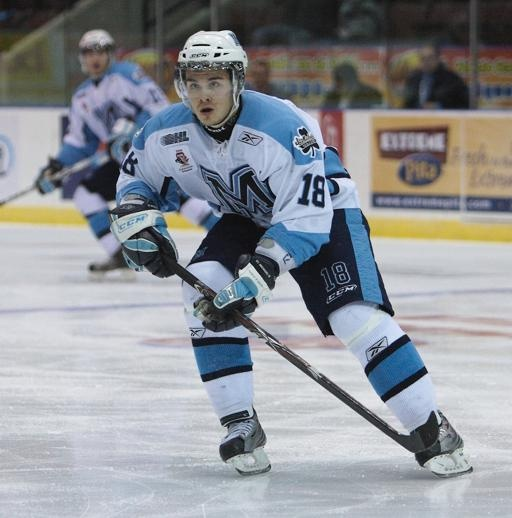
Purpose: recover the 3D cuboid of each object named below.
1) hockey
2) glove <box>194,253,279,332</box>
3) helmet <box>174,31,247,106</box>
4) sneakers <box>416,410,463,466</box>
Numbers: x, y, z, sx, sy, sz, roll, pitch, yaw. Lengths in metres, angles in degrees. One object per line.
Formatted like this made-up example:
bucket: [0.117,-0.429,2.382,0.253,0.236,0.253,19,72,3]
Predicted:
hockey: [0.109,0.297,2.469,1.185,0.036,0.129,25,41,9]
glove: [-0.032,0.078,2.016,0.138,0.236,0.077,45,7,-15]
helmet: [-0.115,-0.478,2.109,0.184,0.200,0.200,-5,12,-4]
sneakers: [0.443,0.439,2.041,0.106,0.129,0.067,-15,17,-41]
